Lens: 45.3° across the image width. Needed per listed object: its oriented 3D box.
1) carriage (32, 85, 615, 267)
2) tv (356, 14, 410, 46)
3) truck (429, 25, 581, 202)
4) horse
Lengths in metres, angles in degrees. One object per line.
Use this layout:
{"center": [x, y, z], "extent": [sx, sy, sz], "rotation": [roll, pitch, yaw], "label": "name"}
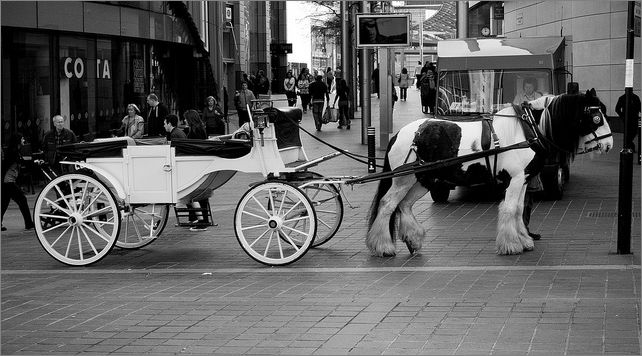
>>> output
{"center": [-0.004, 0.018, 14.622], "extent": [10.153, 3.088, 2.247], "rotation": [-1, 14, 3], "label": "carriage"}
{"center": [1.986, -4.773, 24.730], "extent": [1.744, 1.068, 0.430], "rotation": [-2, 14, 1], "label": "tv"}
{"center": [5.156, -2.229, 21.475], "extent": [3.504, 3.051, 5.058], "rotation": [0, -1, 14], "label": "truck"}
{"center": [3.138, -0.080, 14.801], "extent": [5.045, 2.733, 1.254], "rotation": [-4, 2, -4], "label": "horse"}
